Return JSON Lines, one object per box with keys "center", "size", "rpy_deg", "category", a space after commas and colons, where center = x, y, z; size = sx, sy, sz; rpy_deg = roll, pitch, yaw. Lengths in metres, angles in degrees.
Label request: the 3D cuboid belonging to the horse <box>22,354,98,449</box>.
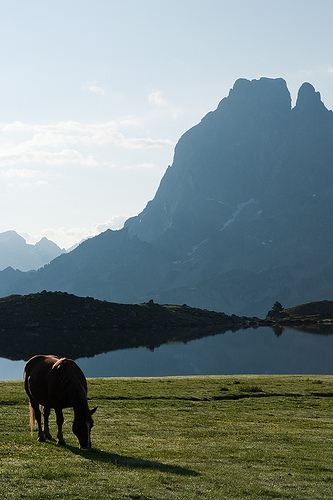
{"center": [-6.744, 9.570, 55.832], "size": [1.793, 5.455, 5.569], "rpy_deg": [3, -2, -43], "category": "horse"}
